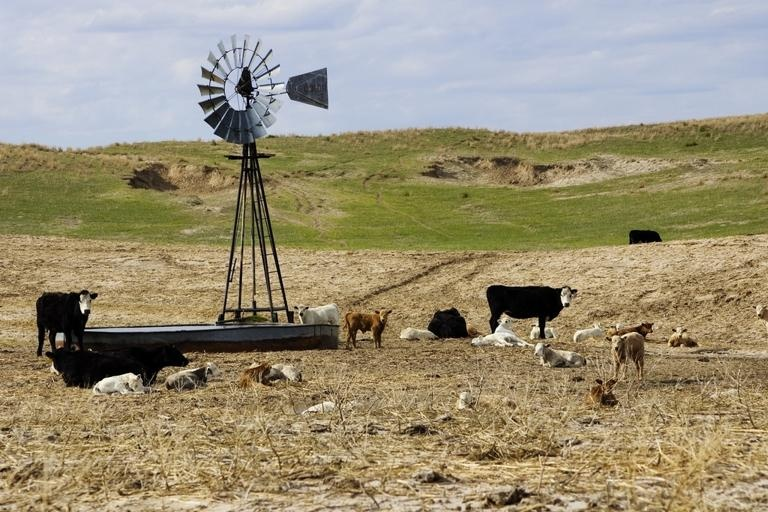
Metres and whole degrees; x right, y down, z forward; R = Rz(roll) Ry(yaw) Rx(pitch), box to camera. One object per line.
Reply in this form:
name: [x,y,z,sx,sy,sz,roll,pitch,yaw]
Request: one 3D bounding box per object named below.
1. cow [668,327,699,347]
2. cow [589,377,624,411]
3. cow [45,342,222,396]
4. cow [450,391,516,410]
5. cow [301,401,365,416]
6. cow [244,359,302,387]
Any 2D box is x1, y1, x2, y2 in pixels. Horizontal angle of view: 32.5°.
cow: [11.506,3.175,50.978,1.108,0.757,0.661,-2,0,10]
cow: [7.337,4.575,44.181,0.966,0.963,1.327,-2,0,8]
cow: [-9.355,3.860,46.046,4.262,1.449,1.230,-1,0,-17]
cow: [3.247,4.762,43.424,1.997,0.592,1.617,-2,0,9]
cow: [-1.719,4.991,43.329,2.011,0.445,0.867,-1,0,-15]
cow: [-3.895,4.094,45.683,2.086,0.792,1.250,-1,0,-17]
